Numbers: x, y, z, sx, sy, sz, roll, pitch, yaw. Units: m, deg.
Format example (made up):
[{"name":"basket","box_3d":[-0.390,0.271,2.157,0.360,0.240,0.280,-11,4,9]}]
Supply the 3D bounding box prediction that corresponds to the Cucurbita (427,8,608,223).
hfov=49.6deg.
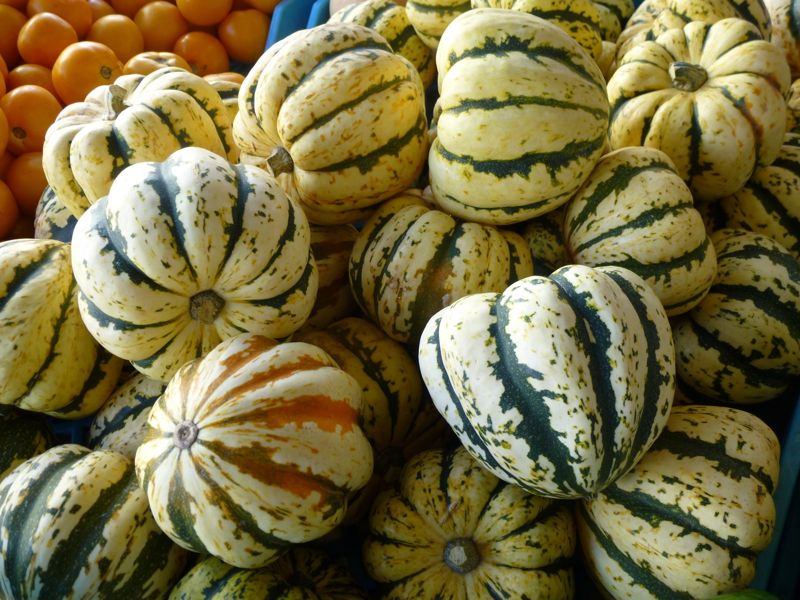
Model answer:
[{"name":"Cucurbita","box_3d":[0.301,-0.466,2.223,0.454,0.382,0.378,1,51,14]}]

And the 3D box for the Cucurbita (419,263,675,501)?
[{"name":"Cucurbita","box_3d":[0.358,0.199,2.024,0.590,0.355,0.444,-13,49,2]}]

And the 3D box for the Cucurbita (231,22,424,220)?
[{"name":"Cucurbita","box_3d":[-0.161,-0.473,2.457,0.476,0.431,0.507,39,99,0]}]

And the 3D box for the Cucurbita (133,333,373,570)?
[{"name":"Cucurbita","box_3d":[-0.344,0.344,2.057,0.552,0.300,0.434,-23,50,-6]}]

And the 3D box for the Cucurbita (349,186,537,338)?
[{"name":"Cucurbita","box_3d":[0.055,-0.093,2.386,0.342,0.385,0.385,-1,12,19]}]
